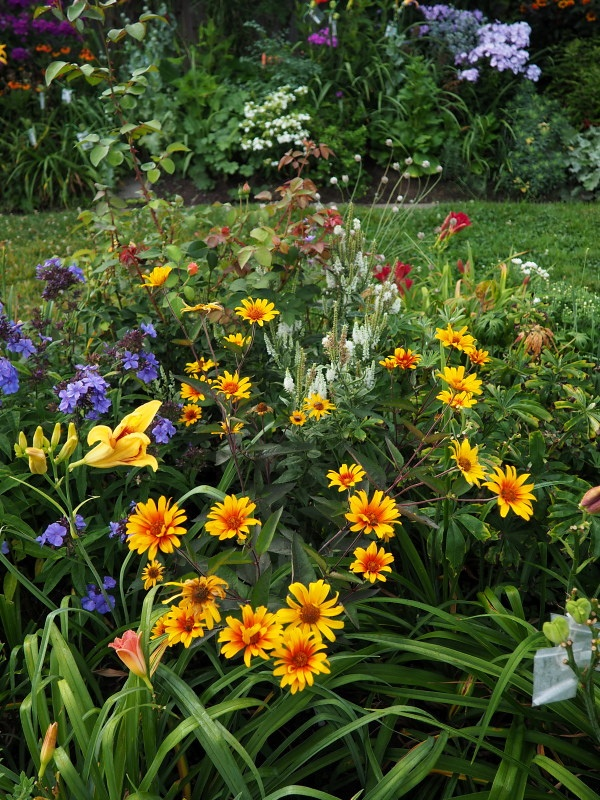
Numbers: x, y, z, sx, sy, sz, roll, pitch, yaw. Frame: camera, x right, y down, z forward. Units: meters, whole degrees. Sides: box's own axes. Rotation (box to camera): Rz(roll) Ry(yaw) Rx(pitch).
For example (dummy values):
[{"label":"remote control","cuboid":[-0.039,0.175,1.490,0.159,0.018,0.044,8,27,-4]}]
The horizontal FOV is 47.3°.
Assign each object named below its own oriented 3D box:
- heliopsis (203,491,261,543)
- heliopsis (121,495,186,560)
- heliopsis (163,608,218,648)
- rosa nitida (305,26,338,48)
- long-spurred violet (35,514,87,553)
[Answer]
[{"label":"heliopsis","cuboid":[-0.113,0.222,1.284,0.126,0.106,0.043,-1,-13,0]},{"label":"heliopsis","cuboid":[-0.255,0.218,1.212,0.098,0.115,0.115,0,23,-12]},{"label":"heliopsis","cuboid":[-0.197,0.408,1.229,0.090,0.080,0.032,20,-13,-5]},{"label":"rosa nitida","cuboid":[0.253,-4.058,7.654,0.219,0.207,0.460,-5,23,-23]},{"label":"long-spurred violet","cuboid":[-0.559,0.313,1.601,0.106,0.095,0.062,18,10,-25]}]
